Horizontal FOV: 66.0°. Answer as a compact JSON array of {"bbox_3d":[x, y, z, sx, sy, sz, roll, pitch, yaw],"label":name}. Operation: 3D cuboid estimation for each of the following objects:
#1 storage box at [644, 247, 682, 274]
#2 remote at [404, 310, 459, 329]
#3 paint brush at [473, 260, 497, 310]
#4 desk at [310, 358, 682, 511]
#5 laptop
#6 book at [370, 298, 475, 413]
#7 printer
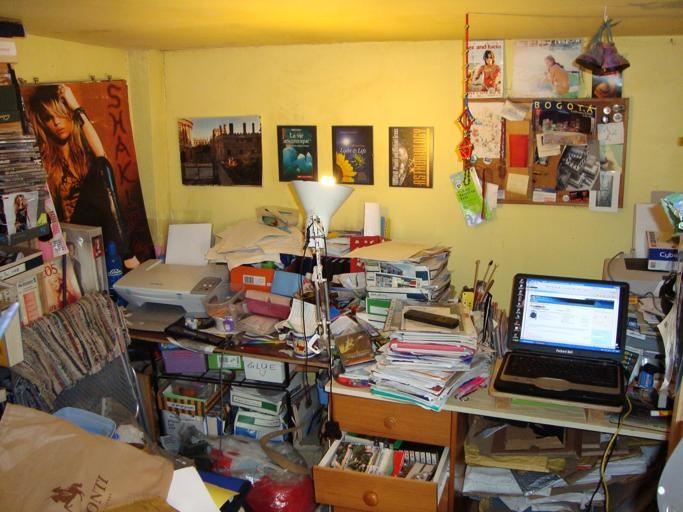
[{"bbox_3d":[1.427,0.019,2.315,0.188,0.132,0.101,1,2,28],"label":"storage box"},{"bbox_3d":[0.377,0.262,2.181,0.160,0.021,0.084,10,15,31],"label":"remote"},{"bbox_3d":[0.736,0.143,2.677,0.072,0.234,0.043,20,-8,3],"label":"paint brush"},{"bbox_3d":[0.503,0.790,2.150,1.236,0.572,0.364,-1,13,2],"label":"desk"},{"bbox_3d":[0.876,0.311,2.064,0.543,0.331,0.553,-2,15,14],"label":"laptop"},{"bbox_3d":[0.352,0.415,2.222,0.445,0.334,0.390,0,12,4],"label":"book"},{"bbox_3d":[-0.927,0.204,2.754,0.559,0.164,0.432,5,25,21],"label":"printer"}]
